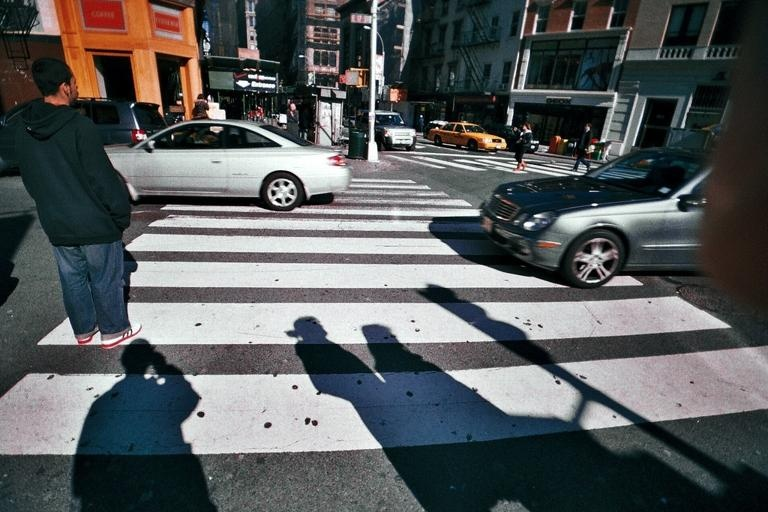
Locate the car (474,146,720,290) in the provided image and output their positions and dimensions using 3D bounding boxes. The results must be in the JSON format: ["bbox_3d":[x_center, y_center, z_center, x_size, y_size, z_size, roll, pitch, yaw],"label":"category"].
[{"bbox_3d":[2.602,-0.590,8.248,4.048,1.177,1.615,1,18,0],"label":"car"}]

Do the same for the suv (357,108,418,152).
[{"bbox_3d":[-0.170,-6.466,26.876,2.041,1.834,3.970,-9,22,-29],"label":"suv"}]

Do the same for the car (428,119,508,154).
[{"bbox_3d":[4.523,-6.590,29.929,1.231,1.563,5.086,-9,27,-25],"label":"car"}]

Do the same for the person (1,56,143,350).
[{"bbox_3d":[-3.386,-0.542,5.998,0.852,3.088,1.210,-18,34,-38],"label":"person"}]

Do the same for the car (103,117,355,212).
[{"bbox_3d":[-2.957,-1.835,10.865,4.584,1.235,1.798,3,12,-4],"label":"car"}]
